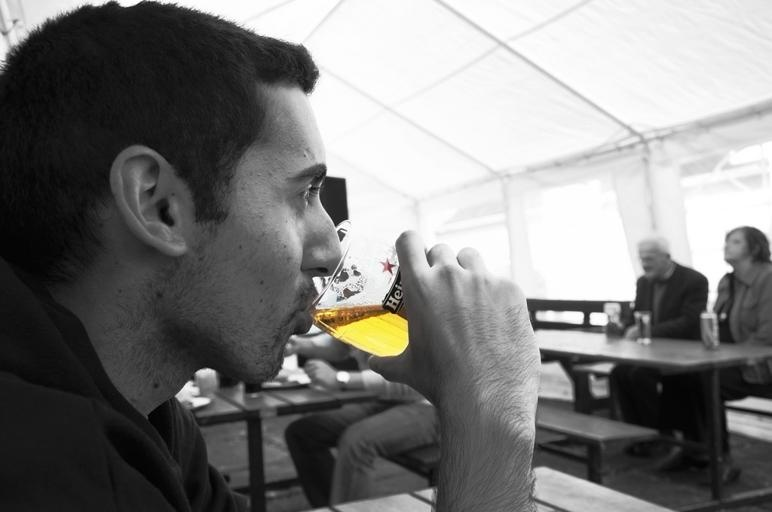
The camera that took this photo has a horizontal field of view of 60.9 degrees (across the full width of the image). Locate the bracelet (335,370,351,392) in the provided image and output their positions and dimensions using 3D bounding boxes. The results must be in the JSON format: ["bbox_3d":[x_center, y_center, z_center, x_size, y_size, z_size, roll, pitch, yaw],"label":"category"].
[{"bbox_3d":[-0.215,0.626,3.301,0.071,0.063,0.078,0,-5,1],"label":"bracelet"}]

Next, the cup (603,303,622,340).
[{"bbox_3d":[1.438,0.402,4.103,0.106,0.191,0.060,-2,-10,35],"label":"cup"}]

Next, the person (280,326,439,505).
[{"bbox_3d":[-0.109,0.686,2.607,0.532,0.381,0.970,13,15,-7],"label":"person"}]

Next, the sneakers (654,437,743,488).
[{"bbox_3d":[1.546,1.028,3.257,0.365,0.149,0.115,-11,15,29],"label":"sneakers"}]
